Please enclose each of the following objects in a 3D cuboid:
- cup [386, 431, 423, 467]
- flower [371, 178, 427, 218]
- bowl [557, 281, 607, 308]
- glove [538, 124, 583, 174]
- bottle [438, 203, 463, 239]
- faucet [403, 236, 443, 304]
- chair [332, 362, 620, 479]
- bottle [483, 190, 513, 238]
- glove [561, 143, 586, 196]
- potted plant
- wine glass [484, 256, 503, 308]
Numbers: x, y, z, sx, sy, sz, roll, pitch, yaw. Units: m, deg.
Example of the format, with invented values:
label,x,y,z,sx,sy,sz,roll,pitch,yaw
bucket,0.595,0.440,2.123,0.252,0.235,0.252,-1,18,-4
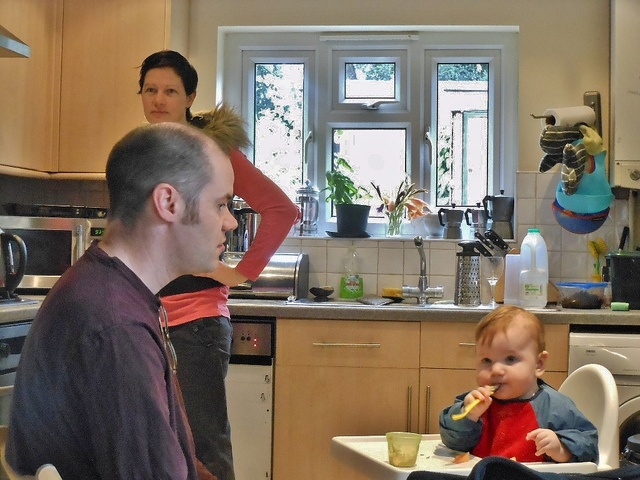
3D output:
label,x,y,z,sx,sy,sz,roll,pitch,yaw
cup,0.251,0.612,2.031,0.089,0.078,0.094,2,-9,0
flower,0.448,-0.172,3.909,0.236,0.230,0.248,15,-8,16
bowl,1.265,0.267,3.338,0.222,0.120,0.120,-1,0,24
glove,1.206,-0.454,3.416,0.192,0.267,0.106,5,-5,32
bottle,0.717,-0.089,3.787,0.124,0.165,0.156,-1,1,13
faucet,0.537,0.153,3.591,0.200,0.342,0.360,-1,1,12
chair,0.539,0.602,2.103,0.634,0.360,0.474,2,-7,-7
bottle,0.973,-0.138,3.760,0.160,0.270,0.158,-1,1,0
glove,1.250,-0.359,3.398,0.109,0.265,0.117,-1,1,22
potted plant,0.151,-0.274,3.933,0.278,0.521,0.253,7,-17,-20
wine glass,0.872,0.197,3.461,0.099,0.240,0.177,-1,1,16
